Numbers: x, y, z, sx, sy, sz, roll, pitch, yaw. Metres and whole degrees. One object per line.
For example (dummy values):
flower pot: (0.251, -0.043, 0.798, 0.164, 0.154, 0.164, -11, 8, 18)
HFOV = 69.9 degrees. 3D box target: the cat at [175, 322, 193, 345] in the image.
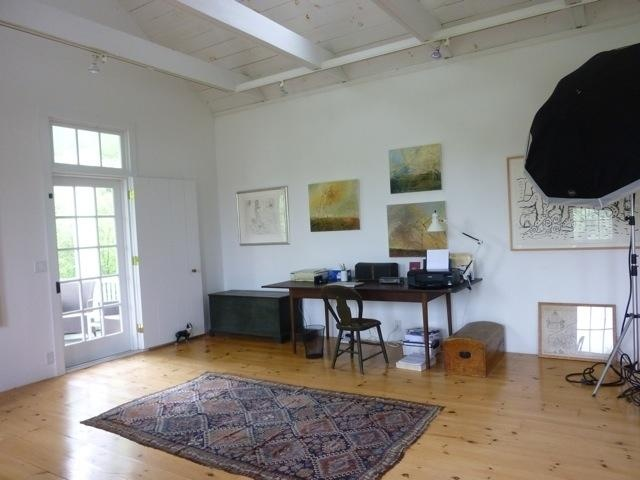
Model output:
cat: (-2.022, 1.395, 6.912, 0.150, 0.253, 0.381, 0, 8, 23)

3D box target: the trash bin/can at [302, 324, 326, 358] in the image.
trash bin/can: (-0.005, 1.271, 5.739, 0.346, 0.396, 0.365, 0, 2, 6)

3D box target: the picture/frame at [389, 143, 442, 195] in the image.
picture/frame: (1.259, -0.922, 5.890, 0.670, 0.564, 0.032, 3, 5, 30)

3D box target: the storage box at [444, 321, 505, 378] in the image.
storage box: (1.682, 1.011, 5.065, 0.451, 0.425, 0.844, 0, 5, 35)

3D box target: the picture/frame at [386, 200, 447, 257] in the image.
picture/frame: (1.273, -0.151, 5.880, 0.743, 0.625, 0.028, 0, 3, 32)

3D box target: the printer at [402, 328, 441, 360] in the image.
printer: (1.269, 1.253, 5.687, 0.355, 0.222, 0.363, 0, 1, 26)

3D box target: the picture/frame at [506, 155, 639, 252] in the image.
picture/frame: (2.536, -0.343, 4.520, 1.114, 0.794, 0.022, 1, 7, 31)

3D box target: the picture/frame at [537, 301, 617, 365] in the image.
picture/frame: (2.917, 1.043, 5.127, 0.707, 0.629, 0.049, 0, -2, 28)

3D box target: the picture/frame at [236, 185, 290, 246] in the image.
picture/frame: (-0.850, -0.389, 7.104, 0.949, 0.821, 0.035, -1, 2, 32)

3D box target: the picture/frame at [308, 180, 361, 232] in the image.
picture/frame: (0.237, -0.493, 6.461, 0.726, 0.630, 0.037, 3, 6, 30)
